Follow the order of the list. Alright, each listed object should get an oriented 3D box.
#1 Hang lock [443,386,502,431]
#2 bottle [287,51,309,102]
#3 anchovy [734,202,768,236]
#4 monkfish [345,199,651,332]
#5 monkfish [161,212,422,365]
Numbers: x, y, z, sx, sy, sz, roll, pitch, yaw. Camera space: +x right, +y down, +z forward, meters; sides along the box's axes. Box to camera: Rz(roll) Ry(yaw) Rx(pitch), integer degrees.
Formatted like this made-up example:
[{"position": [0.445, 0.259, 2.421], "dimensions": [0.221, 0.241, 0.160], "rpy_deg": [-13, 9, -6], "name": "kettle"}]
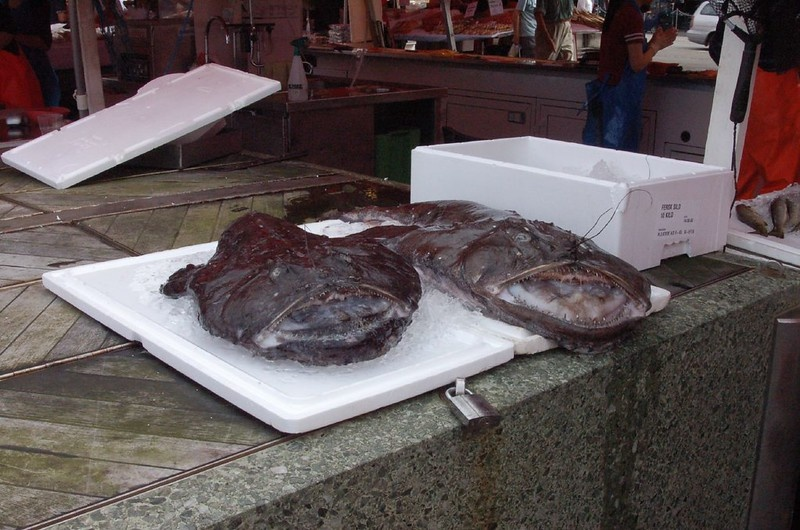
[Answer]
[{"position": [0.153, 0.304, 1.174], "dimensions": [0.087, 0.048, 0.110], "rpy_deg": [-10, 26, -19], "name": "Hang lock"}, {"position": [-0.784, -1.402, 4.103], "dimensions": [0.144, 0.290, 0.323], "rpy_deg": [-6, 26, -9], "name": "bottle"}, {"position": [1.375, -0.181, 2.140], "dimensions": [0.072, 0.044, 0.126], "rpy_deg": [0, 32, -1], "name": "anchovy"}, {"position": [0.266, -0.008, 1.435], "dimensions": [0.628, 0.169, 0.386], "rpy_deg": [17, 18, 31], "name": "monkfish"}, {"position": [-0.263, 0.021, 1.410], "dimensions": [0.640, 0.186, 0.644], "rpy_deg": [-9, 24, -27], "name": "monkfish"}]
